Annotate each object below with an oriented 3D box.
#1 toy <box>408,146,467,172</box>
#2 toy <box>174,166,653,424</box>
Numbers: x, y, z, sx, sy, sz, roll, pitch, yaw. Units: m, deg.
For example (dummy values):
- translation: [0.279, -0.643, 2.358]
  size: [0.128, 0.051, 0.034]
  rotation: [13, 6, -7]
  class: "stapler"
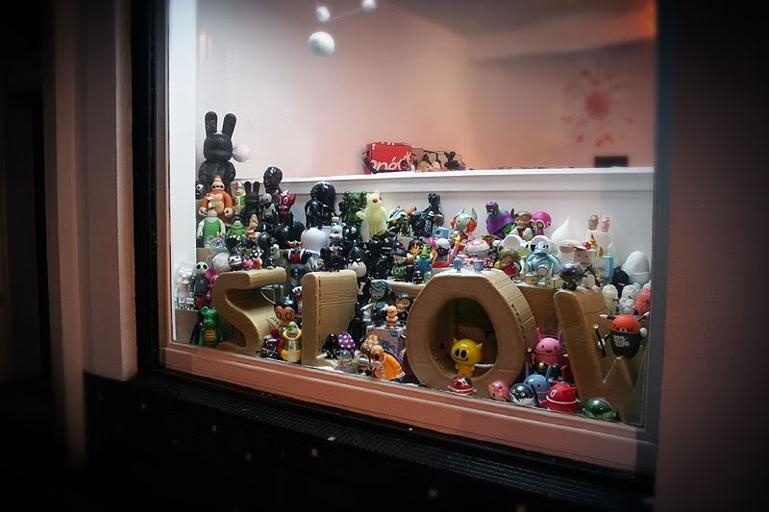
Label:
- translation: [0.276, -0.495, 2.872]
  size: [0.203, 0.100, 0.151]
  rotation: [4, 18, 6]
  class: "toy"
- translation: [0.136, 0.054, 2.471]
  size: [1.941, 0.912, 0.716]
  rotation: [4, 7, 23]
  class: "toy"
